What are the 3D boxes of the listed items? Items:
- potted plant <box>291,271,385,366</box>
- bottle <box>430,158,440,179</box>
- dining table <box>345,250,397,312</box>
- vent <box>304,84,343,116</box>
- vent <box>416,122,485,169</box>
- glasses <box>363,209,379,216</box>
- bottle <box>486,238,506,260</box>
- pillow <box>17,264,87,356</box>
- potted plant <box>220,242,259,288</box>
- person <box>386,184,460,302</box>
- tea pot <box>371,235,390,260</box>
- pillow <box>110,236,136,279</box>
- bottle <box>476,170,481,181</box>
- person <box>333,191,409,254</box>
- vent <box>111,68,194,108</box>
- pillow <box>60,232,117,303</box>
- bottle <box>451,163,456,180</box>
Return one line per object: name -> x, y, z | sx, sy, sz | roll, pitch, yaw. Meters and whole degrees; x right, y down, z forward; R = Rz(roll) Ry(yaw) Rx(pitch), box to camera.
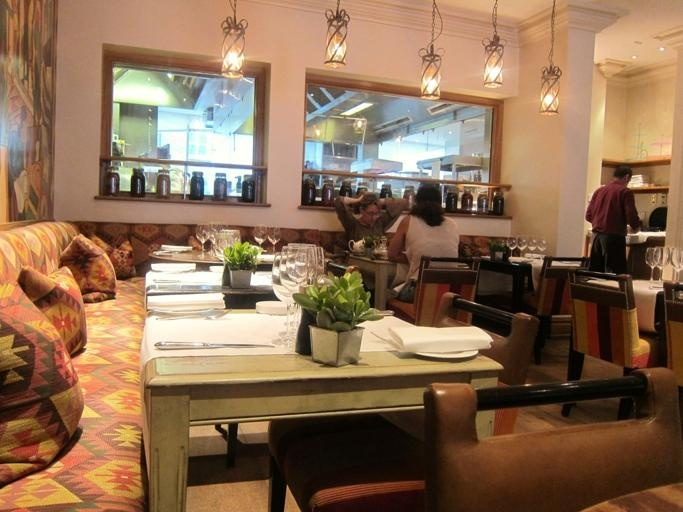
potted plant -> -0.015, 0.179, 1.552 | 0.221, 0.249, 0.253 | 2, -5, 0
bottle -> 1.196, -1.117, 6.705 | 0.133, 0.237, 0.050 | -4, 8, -29
dining table -> 0.260, 0.153, 4.524 | 0.372, 0.524, 0.529 | -1, 7, -15
vent -> -0.234, -1.812, 6.063 | 0.352, 0.383, 0.086 | -6, 16, -21
vent -> 1.424, -1.423, 6.731 | 0.886, 0.603, 0.143 | -3, 8, -24
glasses -> 0.304, -0.452, 5.425 | 0.142, 0.064, 0.080 | -2, 8, -12
bottle -> 1.465, -0.066, 5.087 | 0.192, 0.262, 0.226 | -1, 8, 0
pillow -> -1.186, 0.227, 2.161 | 0.130, 0.327, 0.339 | -19, 13, -5
potted plant -> -0.457, 0.022, 2.466 | 0.198, 0.247, 0.179 | 2, 6, -6
person -> 0.634, -0.056, 4.509 | 0.660, 1.063, 0.784 | 4, -10, 9
tea pot -> 0.352, -0.074, 4.800 | 0.164, 0.203, 0.174 | 2, 0, 0
pillow -> -2.005, 0.020, 4.830 | 0.080, 0.294, 0.274 | -16, 3, 27
bottle -> 1.775, -1.052, 6.852 | 0.028, 0.118, 0.077 | 13, 2, -36
person -> 0.262, -0.331, 5.363 | 0.622, 1.084, 0.268 | -1, 4, -21
vent -> -2.002, -1.763, 5.482 | 0.730, 0.392, 0.150 | 1, 5, -18
pillow -> -1.768, 0.076, 3.797 | 0.354, 0.583, 0.662 | 1, 10, -20
bottle -> 1.428, -1.083, 6.736 | 0.072, 0.194, 0.016 | -2, 7, -12
